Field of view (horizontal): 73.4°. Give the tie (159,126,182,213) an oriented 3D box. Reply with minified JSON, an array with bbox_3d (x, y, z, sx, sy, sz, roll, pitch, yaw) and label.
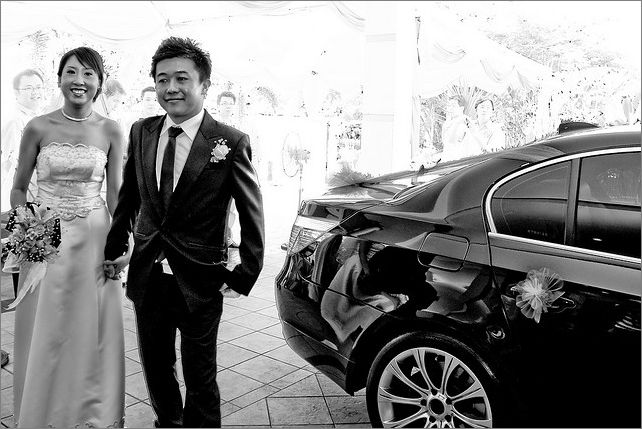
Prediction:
[{"bbox_3d":[-0.884,-0.270,2.529,0.097,0.566,0.085,4,-7,20],"label":"tie"}]
